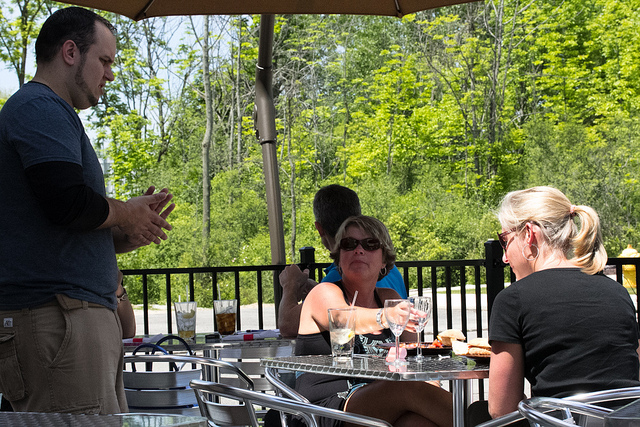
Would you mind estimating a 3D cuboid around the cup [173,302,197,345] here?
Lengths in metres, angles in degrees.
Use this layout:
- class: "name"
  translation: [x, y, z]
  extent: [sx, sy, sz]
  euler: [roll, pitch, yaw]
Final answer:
- class: "cup"
  translation: [-0.873, 0.703, 4.295]
  extent: [0.168, 0.251, 0.168]
  euler: [-5, -10, -1]

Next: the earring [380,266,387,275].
- class: "earring"
  translation: [0.362, 0.325, 3.798]
  extent: [0.050, 0.039, 0.038]
  euler: [-6, -6, 24]

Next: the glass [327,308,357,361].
- class: "glass"
  translation: [0.106, 0.566, 3.172]
  extent: [0.164, 0.239, 0.119]
  euler: [3, 3, 36]

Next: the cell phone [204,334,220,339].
- class: "cell phone"
  translation: [-0.678, 0.767, 4.188]
  extent: [0.069, 0.015, 0.062]
  euler: [1, -3, -3]

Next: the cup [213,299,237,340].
- class: "cup"
  translation: [-0.622, 0.675, 4.356]
  extent: [0.134, 0.222, 0.152]
  euler: [-2, -5, -13]

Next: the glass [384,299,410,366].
- class: "glass"
  translation: [0.352, 0.558, 3.164]
  extent: [0.116, 0.290, 0.110]
  euler: [4, 2, 29]

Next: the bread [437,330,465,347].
- class: "bread"
  translation: [0.669, 0.625, 3.415]
  extent: [0.098, 0.049, 0.094]
  euler: [-3, 2, -5]

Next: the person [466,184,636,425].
- class: "person"
  translation: [1.040, 0.362, 2.960]
  extent: [0.620, 1.006, 0.421]
  euler: [-5, -5, 16]

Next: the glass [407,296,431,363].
- class: "glass"
  translation: [0.485, 0.561, 3.262]
  extent: [0.128, 0.306, 0.124]
  euler: [-1, -7, 16]
